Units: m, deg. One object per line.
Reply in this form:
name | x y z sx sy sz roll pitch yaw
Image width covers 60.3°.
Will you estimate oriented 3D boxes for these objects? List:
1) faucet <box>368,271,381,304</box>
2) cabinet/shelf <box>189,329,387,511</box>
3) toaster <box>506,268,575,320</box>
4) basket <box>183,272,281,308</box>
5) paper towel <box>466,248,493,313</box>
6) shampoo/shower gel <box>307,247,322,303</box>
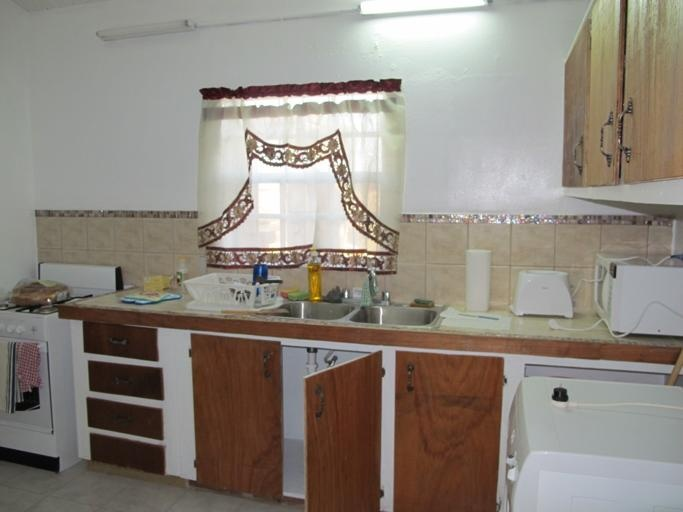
faucet | 0.217 0.186 3.669 0.072 0.204 0.170 1 4 22
cabinet/shelf | -0.304 0.871 3.305 1.144 1.040 0.882 1 1 18
toaster | 1.121 0.217 3.251 0.256 0.209 0.272 3 6 25
basket | -0.644 0.208 3.615 0.553 0.186 0.329 0 4 10
paper towel | 0.806 0.144 3.450 0.139 0.351 0.082 0 4 9
shampoo/shower gel | -0.170 0.110 3.749 0.089 0.339 0.167 -1 4 -4
